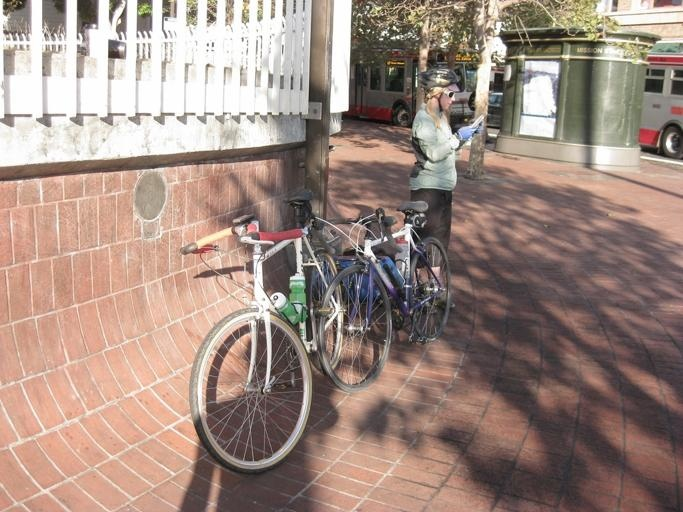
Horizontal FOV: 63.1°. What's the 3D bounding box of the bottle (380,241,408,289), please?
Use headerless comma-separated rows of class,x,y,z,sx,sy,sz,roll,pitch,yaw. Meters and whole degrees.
bottle,0.459,0.089,4.750,0.223,0.374,0.112,3,-16,-40

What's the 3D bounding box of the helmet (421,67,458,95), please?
helmet,0.894,-1.611,5.076,0.271,0.188,0.232,6,30,15

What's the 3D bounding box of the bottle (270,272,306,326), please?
bottle,-0.334,0.338,3.690,0.133,0.322,0.471,4,16,10

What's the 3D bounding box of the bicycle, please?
bicycle,-0.065,0.294,4.085,0.588,1.528,2.785,10,18,33

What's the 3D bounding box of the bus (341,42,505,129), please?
bus,2.938,-9.196,31.989,4.238,5.400,11.497,-12,23,-30
